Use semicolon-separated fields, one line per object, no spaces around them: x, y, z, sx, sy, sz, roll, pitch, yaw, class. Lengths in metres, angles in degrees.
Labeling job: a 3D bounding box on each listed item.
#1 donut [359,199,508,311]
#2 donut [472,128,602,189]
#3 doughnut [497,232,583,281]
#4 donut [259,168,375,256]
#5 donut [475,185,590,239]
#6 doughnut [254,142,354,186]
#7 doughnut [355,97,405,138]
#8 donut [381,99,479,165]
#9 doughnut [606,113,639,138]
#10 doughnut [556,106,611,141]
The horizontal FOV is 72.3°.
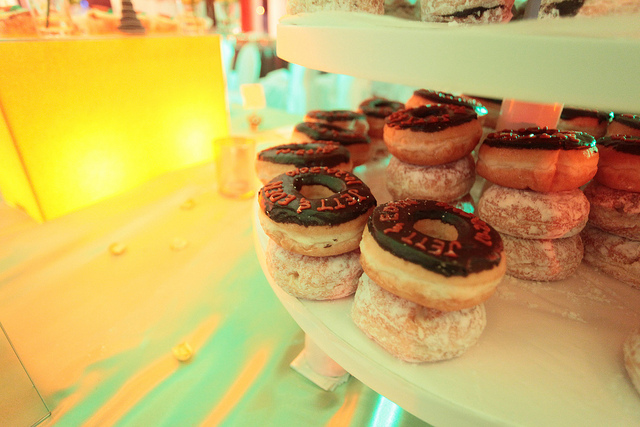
0.299;0.149;1.180;0.345;0.129;0.326;-9;32;-18;donut
0.697;-0.201;1.430;0.366;0.130;0.332;-8;28;-15;donut
0.673;0.110;1.304;0.214;0.089;0.198;4;22;14;doughnut
-0.008;-0.002;1.367;0.354;0.179;0.318;8;30;12;donut
0.728;-0.017;1.480;0.358;0.164;0.334;3;9;12;donut
-0.058;-0.208;1.600;0.235;0.074;0.225;-4;18;-8;doughnut
0.282;-0.481;2.147;0.266;0.081;0.241;-7;34;-8;doughnut
0.375;-0.279;1.532;0.339;0.143;0.324;-17;26;-19;donut
1.011;-0.296;1.496;0.126;0.066;0.120;7;22;16;doughnut
0.883;-0.298;1.462;0.179;0.057;0.165;1;18;-6;doughnut
